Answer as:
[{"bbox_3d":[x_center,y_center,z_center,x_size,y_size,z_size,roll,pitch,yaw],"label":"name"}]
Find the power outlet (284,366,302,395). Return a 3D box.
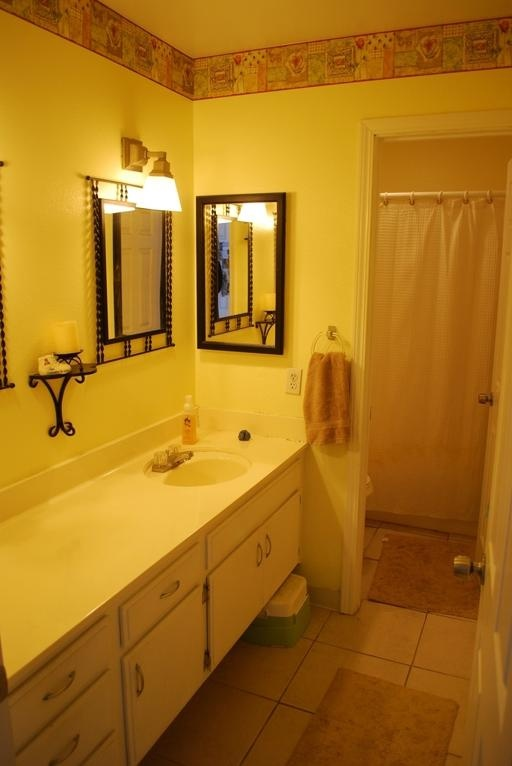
[{"bbox_3d":[0.169,-0.012,2.482,0.081,0.175,0.016,9,16,29],"label":"power outlet"}]

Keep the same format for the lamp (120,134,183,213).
[{"bbox_3d":[-0.363,-0.732,1.999,0.176,0.294,0.213,1,12,26],"label":"lamp"}]

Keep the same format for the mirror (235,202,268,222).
[{"bbox_3d":[-0.016,-0.721,2.403,0.136,0.081,0.006,4,8,19],"label":"mirror"}]

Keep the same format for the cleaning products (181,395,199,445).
[{"bbox_3d":[-0.286,0.161,2.418,0.062,0.205,0.089,1,8,0],"label":"cleaning products"}]

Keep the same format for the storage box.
[{"bbox_3d":[0.064,0.937,2.390,0.211,0.160,0.225,-2,15,36],"label":"storage box"}]

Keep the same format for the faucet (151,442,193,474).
[{"bbox_3d":[-0.326,0.290,2.206,0.057,0.090,0.220,1,7,15],"label":"faucet"}]

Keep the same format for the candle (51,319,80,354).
[{"bbox_3d":[-0.572,-0.134,1.681,0.076,0.112,0.086,1,2,10],"label":"candle"}]

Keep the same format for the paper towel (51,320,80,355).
[{"bbox_3d":[-0.565,-0.135,1.710,0.078,0.115,0.089,1,3,9],"label":"paper towel"}]

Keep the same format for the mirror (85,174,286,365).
[{"bbox_3d":[-0.305,-0.447,2.283,0.900,0.674,0.394,-5,10,-37],"label":"mirror"}]
